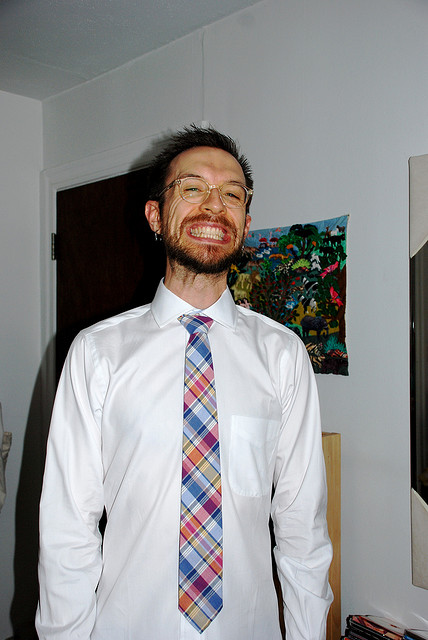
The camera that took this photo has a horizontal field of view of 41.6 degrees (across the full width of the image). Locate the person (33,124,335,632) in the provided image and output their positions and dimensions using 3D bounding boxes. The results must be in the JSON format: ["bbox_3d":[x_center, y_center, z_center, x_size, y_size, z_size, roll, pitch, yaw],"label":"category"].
[{"bbox_3d":[-0.063,0.079,1.021,0.516,0.932,0.364,-2,1,-20],"label":"person"}]

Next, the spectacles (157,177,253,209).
[{"bbox_3d":[-0.022,-0.236,1.092,0.192,0.065,0.115,-2,0,2],"label":"spectacles"}]

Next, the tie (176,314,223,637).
[{"bbox_3d":[-0.024,0.233,0.955,0.075,0.481,0.227,-1,1,0],"label":"tie"}]

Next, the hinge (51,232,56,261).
[{"bbox_3d":[-0.713,-0.325,2.509,0.015,0.093,0.030,-2,1,-43],"label":"hinge"}]
